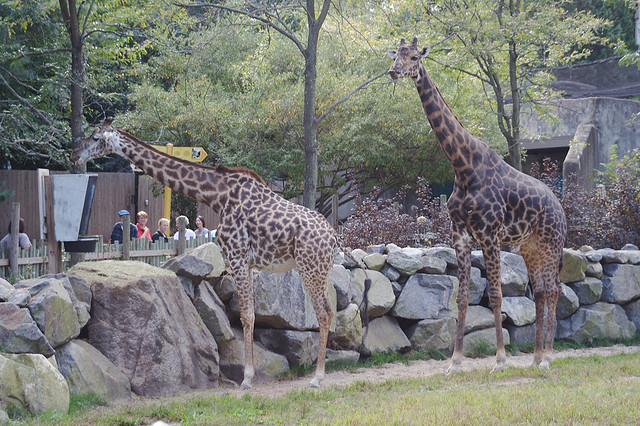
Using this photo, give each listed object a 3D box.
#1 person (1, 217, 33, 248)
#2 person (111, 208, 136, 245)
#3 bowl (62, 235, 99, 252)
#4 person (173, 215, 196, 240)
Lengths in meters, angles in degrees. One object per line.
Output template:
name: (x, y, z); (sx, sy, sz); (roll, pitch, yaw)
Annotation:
person: (-7.733, 0.505, 21.725); (0.604, 1.316, 0.432); (1, 4, -30)
person: (-5.018, 0.668, 22.026); (0.629, 1.566, 0.495); (-2, -36, -16)
bowl: (-4.908, 0.654, 17.648); (0.480, 0.199, 0.375); (-2, -2, 9)
person: (-3.811, 0.424, 23.864); (0.505, 0.849, 0.339); (-1, -13, 10)
